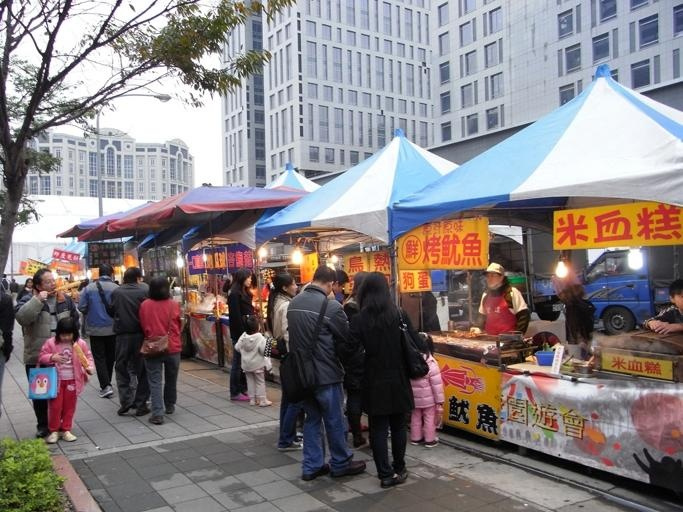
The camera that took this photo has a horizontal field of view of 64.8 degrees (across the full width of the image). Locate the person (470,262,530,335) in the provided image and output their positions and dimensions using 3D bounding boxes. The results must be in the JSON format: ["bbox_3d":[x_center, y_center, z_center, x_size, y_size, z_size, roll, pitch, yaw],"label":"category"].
[{"bbox_3d":[2.650,0.718,8.990,0.811,1.391,1.120,6,-9,-13],"label":"person"}]

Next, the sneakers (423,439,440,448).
[{"bbox_3d":[1.023,2.159,6.199,0.065,0.075,0.170,-1,0,39],"label":"sneakers"}]

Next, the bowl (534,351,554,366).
[{"bbox_3d":[2.244,1.138,5.962,0.187,0.146,0.187,-2,3,0],"label":"bowl"}]

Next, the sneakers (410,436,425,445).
[{"bbox_3d":[0.879,2.155,6.233,0.155,0.064,0.061,8,-11,-34],"label":"sneakers"}]

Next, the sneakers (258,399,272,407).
[{"bbox_3d":[-1.112,2.157,7.895,0.075,0.081,0.191,3,4,43],"label":"sneakers"}]

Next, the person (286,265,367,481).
[{"bbox_3d":[-0.159,1.211,5.612,0.702,2.108,0.715,-3,-4,39],"label":"person"}]

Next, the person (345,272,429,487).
[{"bbox_3d":[0.463,1.193,5.269,0.657,2.081,0.373,-3,3,-21],"label":"person"}]

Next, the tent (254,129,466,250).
[{"bbox_3d":[0.617,-0.916,8.382,2.304,1.128,2.333,-2,0,34],"label":"tent"}]

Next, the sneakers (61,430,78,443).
[{"bbox_3d":[-3.285,2.193,6.541,0.228,0.090,0.089,2,0,45],"label":"sneakers"}]

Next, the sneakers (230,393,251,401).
[{"bbox_3d":[-1.561,2.167,8.222,0.336,0.140,0.107,-4,-8,14],"label":"sneakers"}]

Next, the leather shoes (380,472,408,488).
[{"bbox_3d":[0.519,2.181,5.281,0.274,0.113,0.101,-5,4,-37],"label":"leather shoes"}]

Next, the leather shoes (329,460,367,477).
[{"bbox_3d":[0.075,2.159,5.565,0.367,0.160,0.133,-4,3,-21],"label":"leather shoes"}]

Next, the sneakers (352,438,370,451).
[{"bbox_3d":[0.237,2.183,6.292,0.081,0.168,0.242,4,7,39],"label":"sneakers"}]

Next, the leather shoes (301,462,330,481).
[{"bbox_3d":[-0.251,2.212,5.513,0.316,0.129,0.108,-2,3,-41],"label":"leather shoes"}]

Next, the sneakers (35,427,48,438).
[{"bbox_3d":[-3.660,2.182,6.587,0.113,0.138,0.122,2,41,-7],"label":"sneakers"}]

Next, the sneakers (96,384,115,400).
[{"bbox_3d":[-3.738,2.186,8.567,0.302,0.139,0.122,-21,-23,39],"label":"sneakers"}]

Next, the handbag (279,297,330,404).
[{"bbox_3d":[-0.441,0.936,5.527,0.421,1.002,0.422,7,-26,-43],"label":"handbag"}]

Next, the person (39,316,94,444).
[{"bbox_3d":[-3.342,1.503,6.600,0.501,1.501,0.569,0,4,36],"label":"person"}]

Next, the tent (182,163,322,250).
[{"bbox_3d":[-1.579,-1.250,11.182,2.382,1.188,2.359,-3,-4,8],"label":"tent"}]

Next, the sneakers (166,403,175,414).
[{"bbox_3d":[-2.401,2.150,7.562,0.093,0.114,0.270,2,-10,-16],"label":"sneakers"}]

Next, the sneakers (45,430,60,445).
[{"bbox_3d":[-3.453,2.187,6.456,0.139,0.117,0.141,-3,3,-28],"label":"sneakers"}]

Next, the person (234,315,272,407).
[{"bbox_3d":[-1.249,1.550,7.933,0.583,1.282,0.405,0,4,39],"label":"person"}]

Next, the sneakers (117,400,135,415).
[{"bbox_3d":[-3.003,2.140,7.522,0.115,0.139,0.304,6,-27,-39],"label":"sneakers"}]

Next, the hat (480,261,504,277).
[{"bbox_3d":[2.085,0.159,7.500,0.323,0.162,0.232,17,-13,-32],"label":"hat"}]

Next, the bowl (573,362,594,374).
[{"bbox_3d":[2.469,1.154,5.518,0.183,0.104,0.105,0,3,32],"label":"bowl"}]

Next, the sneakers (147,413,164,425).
[{"bbox_3d":[-2.442,2.178,7.143,0.092,0.096,0.231,-2,5,-32],"label":"sneakers"}]
